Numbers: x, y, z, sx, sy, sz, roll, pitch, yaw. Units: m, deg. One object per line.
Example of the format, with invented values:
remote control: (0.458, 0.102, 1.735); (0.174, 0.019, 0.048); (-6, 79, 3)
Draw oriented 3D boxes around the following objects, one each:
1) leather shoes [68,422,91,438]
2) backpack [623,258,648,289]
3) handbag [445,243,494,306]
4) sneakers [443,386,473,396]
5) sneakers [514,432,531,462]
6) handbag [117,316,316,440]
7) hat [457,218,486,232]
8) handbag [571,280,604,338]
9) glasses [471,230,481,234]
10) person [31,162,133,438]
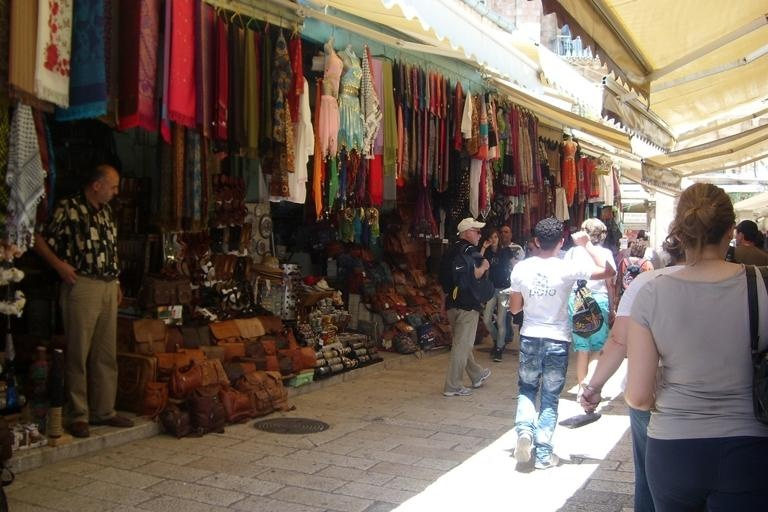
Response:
leather shoes: (-2.963, 1.699, 5.794); (0.105, 0.108, 0.256); (3, -8, -42)
backpack: (3.575, 0.275, 8.471); (0.443, 0.478, 0.308); (3, -3, 22)
handbag: (1.135, 0.295, 8.300); (0.627, 1.002, 0.837); (2, -1, -15)
sneakers: (1.023, 1.863, 8.174); (0.338, 0.154, 0.143); (-4, 5, -6)
sneakers: (1.273, 1.755, 5.461); (0.121, 0.285, 0.121); (5, -2, 6)
handbag: (-1.928, 1.303, 7.114); (1.160, 1.174, 2.082); (3, 3, 39)
hat: (1.205, -0.422, 8.087); (0.323, 0.144, 0.209); (-8, 8, -7)
handbag: (2.420, 0.639, 7.064); (0.397, 0.737, 0.562); (-13, -10, 14)
glasses: (1.260, -0.329, 8.209); (0.112, 0.034, 0.111); (2, -2, 31)
person: (-2.964, 0.429, 5.920); (0.417, 2.673, 0.746); (2, 3, 36)
